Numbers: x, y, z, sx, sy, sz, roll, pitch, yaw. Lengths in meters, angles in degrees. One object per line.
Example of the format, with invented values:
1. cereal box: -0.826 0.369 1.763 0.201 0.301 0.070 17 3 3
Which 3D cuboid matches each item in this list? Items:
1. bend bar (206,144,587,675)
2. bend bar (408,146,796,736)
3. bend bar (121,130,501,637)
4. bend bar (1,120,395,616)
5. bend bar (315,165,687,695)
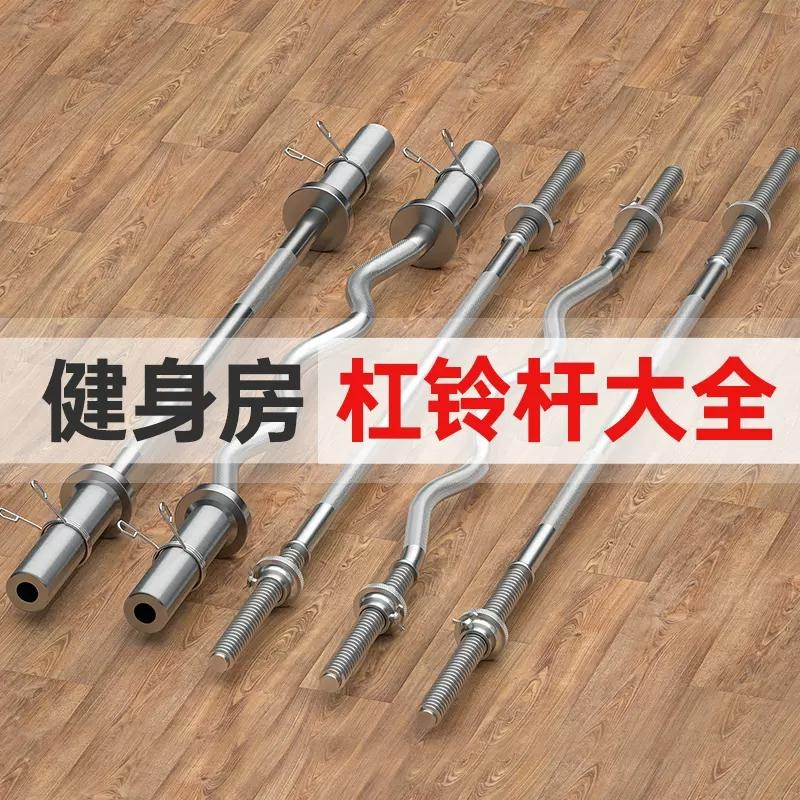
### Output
1. bend bar: 0.261 -0.230 1.673 0.216 0.185 1.892 42 55 -5
2. bend bar: 0.331 0.074 1.351 1.303 0.112 0.117 -44 47 -18
3. bend bar: 0.047 -0.231 1.625 0.238 0.216 1.642 35 47 3
4. bend bar: -0.210 -0.164 1.630 0.292 0.287 1.437 32 52 8
5. bend bar: 0.434 -0.242 1.709 0.239 0.174 2.026 43 53 -9
